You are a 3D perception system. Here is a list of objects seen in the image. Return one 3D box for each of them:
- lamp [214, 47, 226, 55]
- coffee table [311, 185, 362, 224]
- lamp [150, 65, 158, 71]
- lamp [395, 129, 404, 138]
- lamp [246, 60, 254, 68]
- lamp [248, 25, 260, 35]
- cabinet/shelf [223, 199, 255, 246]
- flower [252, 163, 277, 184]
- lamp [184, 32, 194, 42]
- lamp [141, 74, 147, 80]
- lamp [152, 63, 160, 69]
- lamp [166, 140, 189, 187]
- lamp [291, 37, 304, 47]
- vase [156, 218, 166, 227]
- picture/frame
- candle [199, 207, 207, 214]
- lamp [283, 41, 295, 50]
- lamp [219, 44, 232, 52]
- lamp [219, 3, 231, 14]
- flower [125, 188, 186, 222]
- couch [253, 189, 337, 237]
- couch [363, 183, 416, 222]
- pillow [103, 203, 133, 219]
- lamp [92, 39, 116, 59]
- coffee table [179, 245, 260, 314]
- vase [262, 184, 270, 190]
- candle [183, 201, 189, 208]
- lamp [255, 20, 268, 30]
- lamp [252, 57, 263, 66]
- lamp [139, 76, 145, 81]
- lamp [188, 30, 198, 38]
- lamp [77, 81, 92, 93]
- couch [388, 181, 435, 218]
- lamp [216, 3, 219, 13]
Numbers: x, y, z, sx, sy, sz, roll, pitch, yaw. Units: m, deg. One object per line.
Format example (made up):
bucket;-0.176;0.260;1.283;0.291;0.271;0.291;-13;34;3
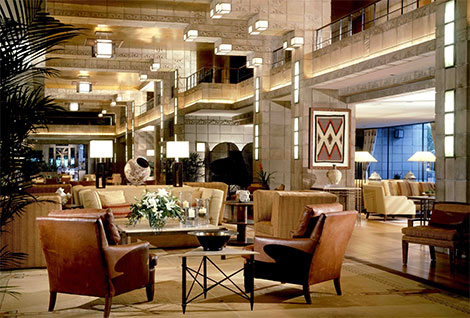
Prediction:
lamp;-0.460;-3.383;12.929;0.282;0.167;0.274;1;-4;-21
coffee table;2.859;1.072;10.994;1.209;1.100;1.178;0;-3;-5
lamp;-3.204;-3.591;16.439;0.257;0.223;0.465;1;-4;-19
lamp;7.837;-1.205;19.911;0.379;0.508;0.378;4;8;25
lamp;0.501;-3.050;13.465;0.206;0.273;0.287;-1;3;-17
lamp;0.461;-3.344;10.801;0.219;0.127;0.213;0;-2;1
cabinet/shelf;0.083;1.166;7.696;0.781;0.817;0.805;0;-1;-4
flower;0.970;0.452;13.409;0.685;0.704;0.724;0;-2;8
lamp;-1.339;-3.717;12.670;0.259;0.193;0.360;8;-4;-21
lamp;-3.880;-3.494;17.770;0.239;0.138;0.231;-3;4;-24
lamp;-3.034;-3.583;16.067;0.238;0.139;0.232;-5;7;-41
lamp;-1.424;0.124;10.253;0.630;1.092;0.350;-3;1;-22
lamp;1.631;-3.068;10.850;0.259;0.182;0.252;-2;3;-8
vase;-1.137;0.975;6.381;0.167;0.131;0.162;-2;3;-38
picture/frame;2.512;-0.531;10.955;1.187;1.583;0.240;-1;5;-20
candle;-0.496;0.792;6.379;0.092;0.082;0.089;0;3;-36
lamp;1.424;-3.029;11.226;0.266;0.158;0.247;1;2;2
lamp;-0.287;-3.405;12.821;0.265;0.156;0.256;0;5;-2
lamp;-0.236;-3.685;10.159;0.252;0.148;0.243;0;1;-11
flower;-1.233;0.798;6.659;0.794;0.551;0.787;5;-16;-37
couch;0.951;0.759;6.844;0.983;0.918;1.005;2;-8;-16
couch;4.108;1.095;11.164;1.042;0.917;1.064;1;0;-11
pillow;-1.956;0.886;6.983;0.509;0.222;0.635;0;4;-23
lamp;-3.996;-3.352;12.865;0.633;0.594;0.638;5;6;30
coffee table;-0.260;1.493;5.188;0.841;0.661;0.819;1;-3;-7
vase;0.926;0.844;12.594;0.226;0.205;0.147;0;-5;-4
candle;-0.748;0.711;6.467;0.098;0.107;0.099;1;1;32
lamp;0.686;-3.392;10.560;0.245;0.143;0.238;-3;5;-21
lamp;0.702;-3.098;13.198;0.307;0.235;0.234;-2;5;-26
lamp;-3.936;-3.432;17.838;0.206;0.125;0.207;-3;5;-35
lamp;-1.252;-3.741;12.508;0.242;0.141;0.235;0;3;-2
lamp;-6.372;-3.030;17.624;0.506;0.355;0.491;-1;2;-15
couch;5.097;1.083;11.701;1.446;0.707;0.636;-3;15;19
lamp;-0.425;-3.687;10.187;0.045;0.167;0.182;0;6;-23
